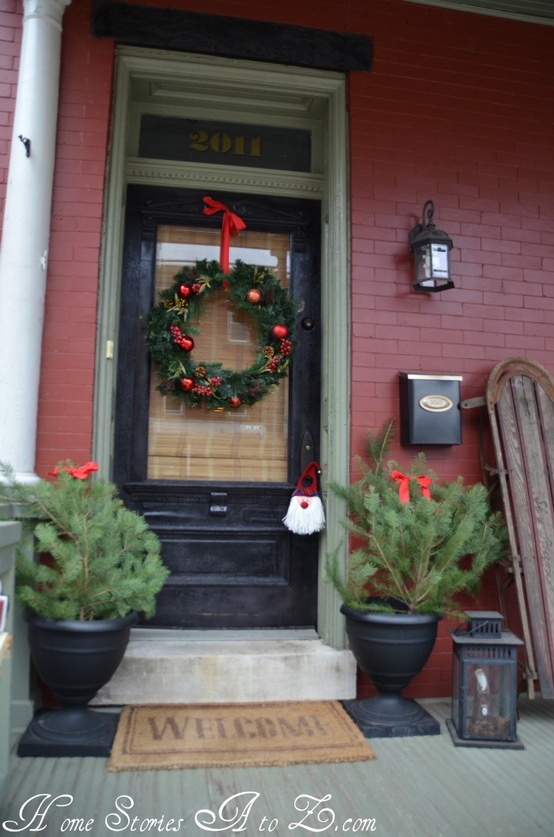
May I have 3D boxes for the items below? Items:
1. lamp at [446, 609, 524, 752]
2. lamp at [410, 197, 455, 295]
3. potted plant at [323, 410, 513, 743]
[{"bbox_3d":[0.746,0.924,2.481,0.253,0.382,0.249,2,0,15],"label":"lamp"},{"bbox_3d":[0.661,-0.753,2.982,0.201,0.337,0.253,2,0,13],"label":"lamp"},{"bbox_3d":[0.535,0.639,2.680,0.636,1.005,0.664,15,-16,-27],"label":"potted plant"}]
